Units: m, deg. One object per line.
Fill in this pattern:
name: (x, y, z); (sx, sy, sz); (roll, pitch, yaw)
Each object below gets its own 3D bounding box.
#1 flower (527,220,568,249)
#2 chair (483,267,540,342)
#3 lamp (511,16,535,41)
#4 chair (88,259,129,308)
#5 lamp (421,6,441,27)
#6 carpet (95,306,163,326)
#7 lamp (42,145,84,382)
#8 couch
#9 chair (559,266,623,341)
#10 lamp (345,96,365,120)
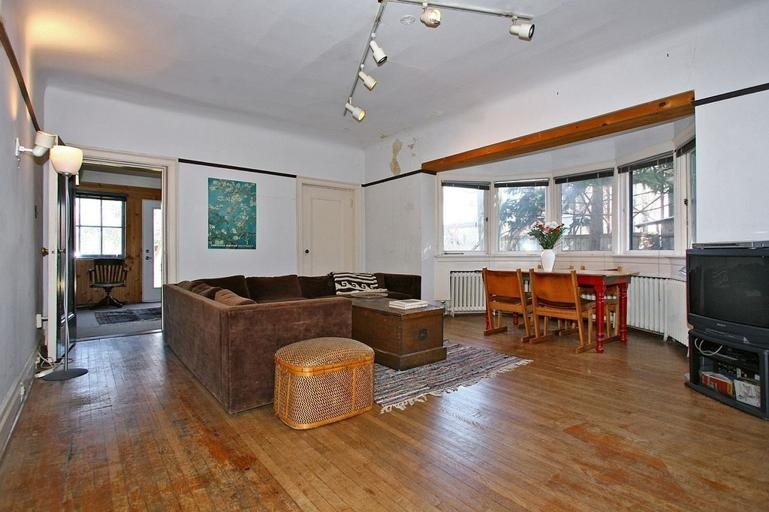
flower: (2.361, -0.309, 6.851); (0.541, 0.402, 0.546); (-6, 8, 2)
chair: (1.841, 0.638, 6.733); (0.571, 0.980, 0.748); (1, 7, 42)
lamp: (1.388, -2.286, 4.757); (0.207, 0.278, 0.337); (2, 6, 17)
chair: (-5.358, 0.549, 9.290); (0.906, 1.270, 0.887); (1, 1, -35)
lamp: (0.428, -2.273, 4.525); (0.214, 0.180, 0.173); (2, 43, 0)
carpet: (-4.390, 1.037, 8.146); (0.988, 0.093, 1.626); (-4, 6, -32)
lamp: (-3.629, 0.031, 5.369); (0.492, 2.466, 1.273); (-4, 7, -30)
couch: (-1.251, 0.785, 5.656); (2.454, 0.820, 2.475); (-1, 5, -27)
chair: (2.655, 0.683, 6.263); (1.037, 0.915, 1.038); (0, -1, 41)
lamp: (-0.375, -1.955, 6.202); (0.278, 0.255, 0.484); (-5, 38, -14)
